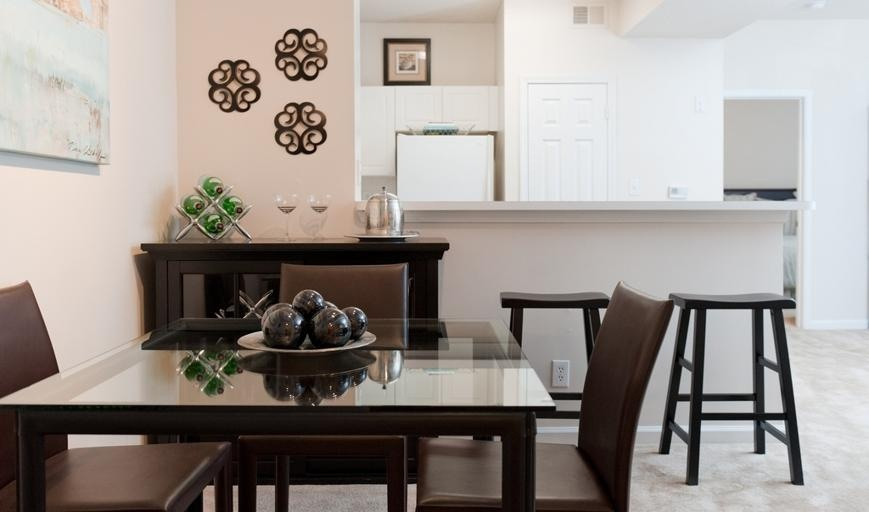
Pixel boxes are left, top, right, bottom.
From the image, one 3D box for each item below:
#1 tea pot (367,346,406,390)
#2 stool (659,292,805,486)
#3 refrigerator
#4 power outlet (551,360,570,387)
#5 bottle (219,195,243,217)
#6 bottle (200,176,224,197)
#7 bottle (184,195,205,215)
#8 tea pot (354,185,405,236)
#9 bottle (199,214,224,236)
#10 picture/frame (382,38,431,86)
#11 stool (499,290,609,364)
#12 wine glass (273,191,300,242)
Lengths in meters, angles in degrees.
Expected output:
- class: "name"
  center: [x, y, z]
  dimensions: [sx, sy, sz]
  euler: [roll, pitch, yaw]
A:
- class: "tea pot"
  center: [-0.222, 0.528, 2.887]
  dimensions: [0.150, 0.161, 0.150]
  euler: [-8, -24, -3]
- class: "stool"
  center: [1.945, 0.823, 4.146]
  dimensions: [0.815, 1.103, 0.798]
  euler: [0, -1, -2]
- class: "refrigerator"
  center: [0.132, -0.838, 6.781]
  dimensions: [1.134, 1.132, 0.768]
  euler: [0, 0, 2]
- class: "power outlet"
  center: [0.887, 0.820, 4.389]
  dimensions: [0.184, 0.251, 0.028]
  euler: [0, 1, 0]
- class: "bottle"
  center: [-1.350, -0.334, 4.237]
  dimensions: [0.138, 0.139, 0.106]
  euler: [-6, 10, -43]
- class: "bottle"
  center: [-1.489, -0.472, 4.229]
  dimensions: [0.124, 0.123, 0.158]
  euler: [-8, 15, -33]
- class: "bottle"
  center: [-1.584, -0.338, 4.179]
  dimensions: [0.117, 0.133, 0.102]
  euler: [5, -10, -10]
- class: "tea pot"
  center: [-0.342, -0.299, 4.273]
  dimensions: [0.273, 0.362, 0.343]
  euler: [-1, 6, -17]
- class: "bottle"
  center: [-1.455, -0.208, 4.171]
  dimensions: [0.117, 0.132, 0.110]
  euler: [6, 9, 38]
- class: "picture/frame"
  center: [-0.300, -2.119, 6.878]
  dimensions: [0.572, 0.555, 0.043]
  euler: [0, 0, -4]
- class: "stool"
  center: [0.783, 0.573, 4.122]
  dimensions: [0.690, 0.622, 0.549]
  euler: [1, 4, 15]
- class: "wine glass"
  center: [-1.018, -0.275, 4.359]
  dimensions: [0.162, 0.304, 0.278]
  euler: [-1, 7, -13]
